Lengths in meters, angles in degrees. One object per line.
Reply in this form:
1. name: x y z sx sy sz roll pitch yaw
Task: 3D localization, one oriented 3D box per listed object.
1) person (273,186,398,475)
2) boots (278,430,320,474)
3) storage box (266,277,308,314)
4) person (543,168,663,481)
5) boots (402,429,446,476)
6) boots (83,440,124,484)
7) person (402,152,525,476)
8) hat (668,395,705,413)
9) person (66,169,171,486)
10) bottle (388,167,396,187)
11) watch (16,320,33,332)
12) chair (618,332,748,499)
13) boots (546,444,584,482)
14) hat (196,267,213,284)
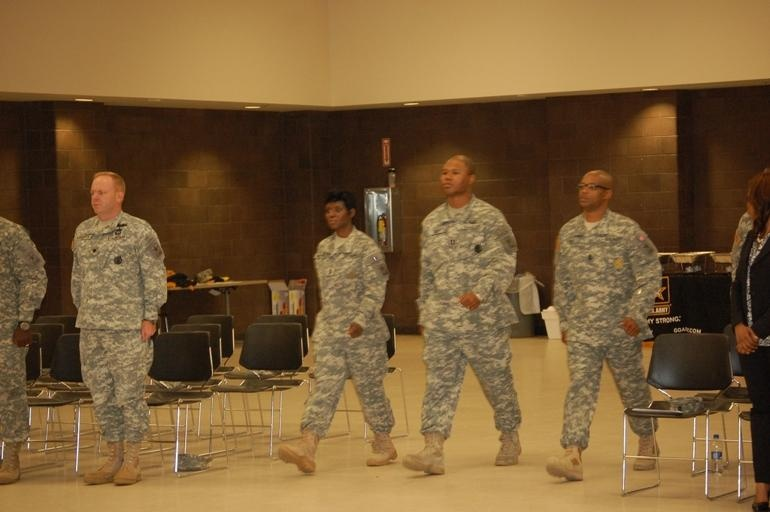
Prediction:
1. person: -0.314 0.595 5.865 0.776 2.202 0.487 -3 3 -11
2. boots: -0.666 1.551 5.790 0.144 0.314 0.303 -28 29 34
3. storage box: -1.654 0.665 12.736 0.743 0.710 0.426 -4 30 -11
4. person: 1.663 0.507 5.532 0.796 2.297 0.700 -2 3 14
5. boots: 0.302 1.476 5.580 0.158 0.309 0.426 -14 -28 40
6. boots: -2.159 1.599 5.738 0.138 0.264 0.408 -4 -2 32
7. person: 0.606 0.453 5.679 0.841 2.437 0.617 -2 3 6
8. hat: 2.131 1.045 5.221 0.226 0.063 0.388 0 4 29
9. person: -2.064 0.545 5.735 0.766 2.386 0.410 -2 3 -2
10. bottle: 0.121 -1.352 12.742 0.164 0.341 0.144 -2 3 6
11. watch: -2.887 0.558 5.905 0.100 0.082 0.070 -4 4 -34
12. chair: 2.146 1.130 5.348 0.724 1.054 0.723 -8 -7 39
13. boots: 1.314 1.526 5.369 0.229 0.260 0.394 -1 3 17
14. hat: -2.850 0.308 11.546 0.253 0.169 0.238 -4 -6 -37
